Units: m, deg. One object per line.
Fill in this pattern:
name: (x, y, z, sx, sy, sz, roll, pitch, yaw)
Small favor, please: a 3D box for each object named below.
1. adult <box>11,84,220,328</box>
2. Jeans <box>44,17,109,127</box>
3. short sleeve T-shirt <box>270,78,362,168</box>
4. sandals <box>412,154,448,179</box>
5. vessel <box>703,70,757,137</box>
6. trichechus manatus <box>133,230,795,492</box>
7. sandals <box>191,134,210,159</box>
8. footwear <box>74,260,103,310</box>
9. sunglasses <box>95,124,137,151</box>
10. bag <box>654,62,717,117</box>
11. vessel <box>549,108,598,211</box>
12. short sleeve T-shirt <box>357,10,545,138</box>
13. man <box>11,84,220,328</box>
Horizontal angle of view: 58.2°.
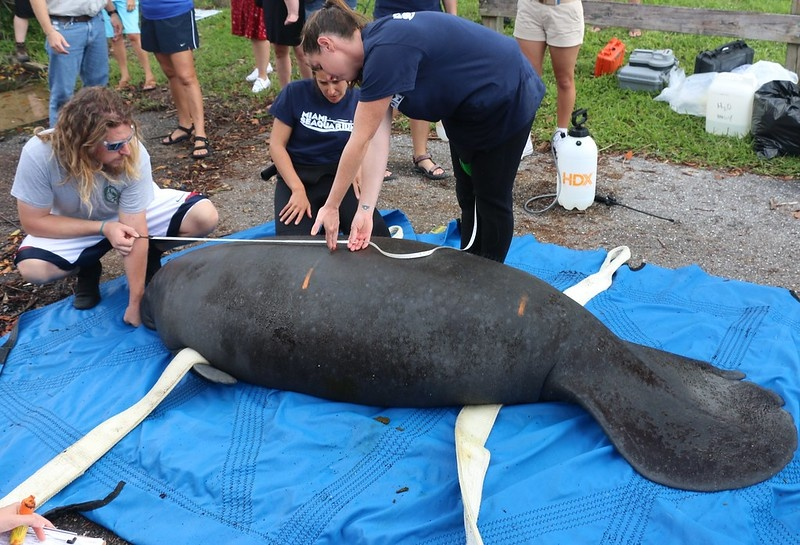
adult: (-2.245, -0.469, 5.706, 1.572, 1.783, 1.273, -21, 58, -31)
Jeans: (-3.291, -1.949, 7.453, 0.524, 0.417, 1.609, 2, 64, -20)
short sleeve T-shirt: (-0.643, -1.248, 5.870, 0.812, 0.681, 0.484, 6, 36, -15)
sandals: (0.293, -1.086, 7.363, 0.174, 0.186, 0.432, -32, 48, -26)
vessel: (3.469, -1.745, 7.535, 0.553, 0.796, 0.422, 12, 29, 32)
trichechus manatus: (0.402, 0.481, 4.644, 3.256, 0.678, 1.766, 10, 32, 16)
sandals: (-2.139, -1.343, 7.696, 0.114, 0.107, 0.345, -4, 36, -4)
footwear: (-2.490, 0.079, 5.652, 0.176, 0.354, 0.503, 1, 21, -21)
sunglasses: (-1.959, -0.936, 5.079, 0.095, 0.138, 0.281, 20, 38, 28)
bag: (3.183, -2.066, 8.135, 0.572, 0.237, 0.575, -55, 36, -10)
vessel: (1.613, -1.059, 6.580, 0.442, 0.918, 0.347, 9, 33, 14)
short sleeve T-shirt: (0.325, -1.333, 4.892, 1.281, 0.760, 0.836, 5, 23, -13)
man: (-2.245, -0.469, 5.706, 1.572, 1.783, 1.273, -21, 58, -31)
